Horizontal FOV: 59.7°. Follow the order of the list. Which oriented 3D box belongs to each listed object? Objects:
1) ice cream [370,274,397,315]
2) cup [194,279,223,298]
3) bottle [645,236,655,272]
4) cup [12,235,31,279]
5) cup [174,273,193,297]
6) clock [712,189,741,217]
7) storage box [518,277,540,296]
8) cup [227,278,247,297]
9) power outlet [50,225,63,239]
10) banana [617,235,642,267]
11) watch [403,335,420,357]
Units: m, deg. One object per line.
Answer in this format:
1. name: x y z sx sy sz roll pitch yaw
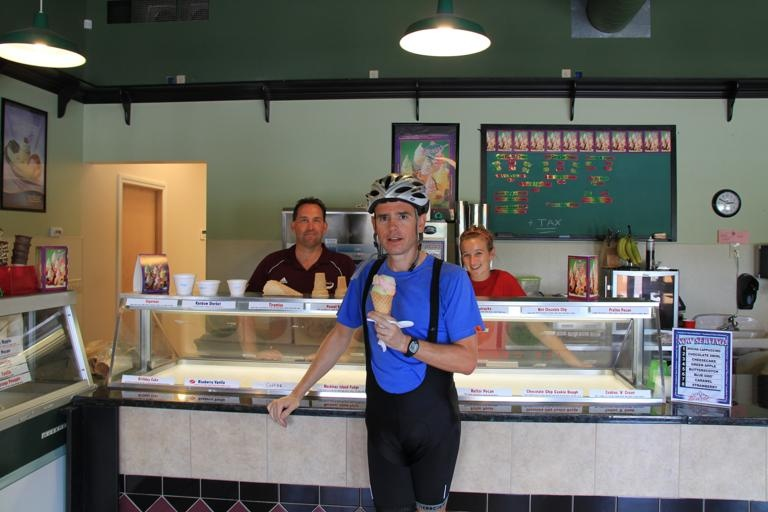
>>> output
1. ice cream: 0.011 0.237 3.923 0.136 0.243 0.119 -8 23 -30
2. cup: -1.188 0.215 4.498 0.131 0.076 0.129 -1 -2 0
3. bottle: 2.399 -0.033 6.043 0.068 0.282 0.426 2 4 20
4. cup: -2.434 -0.035 4.477 0.105 0.204 0.378 -1 4 -29
5. cup: -1.331 0.197 4.474 0.140 0.102 0.136 2 0 0
6. clock: 3.421 -0.528 6.676 0.285 0.270 0.054 -1 -2 -2
7. storage box: 1.336 0.286 6.153 0.186 0.153 0.181 -1 -6 5
8. cup: -0.999 0.208 4.525 0.109 0.089 0.129 -4 -8 26
9. power outlet: -3.278 -0.239 6.723 0.091 0.139 0.165 0 1 20
10. banana: 2.331 -0.051 6.484 0.209 0.294 0.104 -10 -11 -31
11. watch: 0.161 0.513 3.857 0.079 0.114 0.107 32 1 -4
